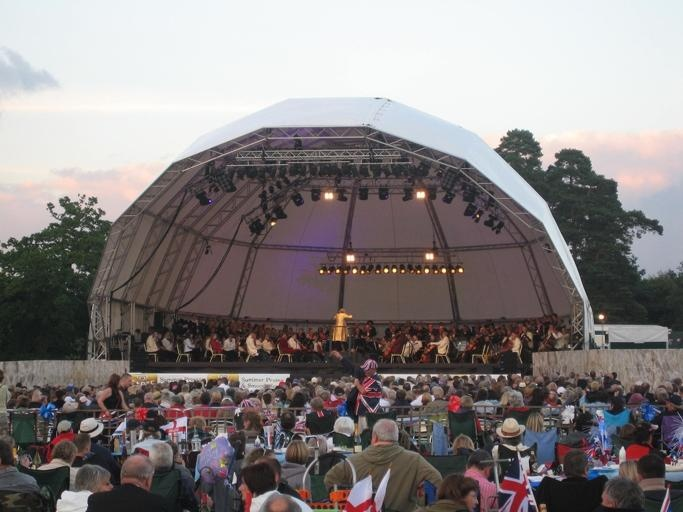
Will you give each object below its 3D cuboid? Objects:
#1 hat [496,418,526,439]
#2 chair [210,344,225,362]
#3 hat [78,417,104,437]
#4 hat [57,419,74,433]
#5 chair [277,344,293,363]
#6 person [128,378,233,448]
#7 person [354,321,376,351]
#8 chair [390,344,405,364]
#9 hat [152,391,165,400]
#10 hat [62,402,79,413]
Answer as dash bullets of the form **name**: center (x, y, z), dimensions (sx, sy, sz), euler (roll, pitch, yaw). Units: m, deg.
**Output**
- **hat**: center (2.645, 2.684, 13.866), dimensions (0.422, 0.144, 0.438), euler (-6, 14, 3)
- **chair**: center (-4.712, 3.571, 32.739), dimensions (0.696, 0.832, 0.574), euler (-2, -4, 10)
- **hat**: center (-4.144, 2.867, 14.572), dimensions (0.513, 0.156, 0.509), euler (-2, 18, -1)
- **hat**: center (-4.492, 2.747, 14.269), dimensions (0.223, 0.255, 0.275), euler (2, 11, 4)
- **chair**: center (-2.228, 3.612, 33.049), dimensions (0.655, 0.805, 0.713), euler (0, -3, 20)
- **person**: center (-2.854, 2.900, 16.118), dimensions (1.049, 0.589, 1.012), euler (1, 1, 24)
- **person**: center (0.890, 3.119, 33.519), dimensions (0.864, 0.925, 1.086), euler (3, 3, 2)
- **chair**: center (2.128, 3.661, 32.939), dimensions (0.689, 0.814, 0.628), euler (3, -11, -2)
- **hat**: center (-3.793, 2.844, 18.048), dimensions (0.215, 0.087, 0.284), euler (1, 4, 15)
- **hat**: center (-5.071, 2.813, 16.341), dimensions (0.264, 0.274, 0.382), euler (2, 3, -17)
